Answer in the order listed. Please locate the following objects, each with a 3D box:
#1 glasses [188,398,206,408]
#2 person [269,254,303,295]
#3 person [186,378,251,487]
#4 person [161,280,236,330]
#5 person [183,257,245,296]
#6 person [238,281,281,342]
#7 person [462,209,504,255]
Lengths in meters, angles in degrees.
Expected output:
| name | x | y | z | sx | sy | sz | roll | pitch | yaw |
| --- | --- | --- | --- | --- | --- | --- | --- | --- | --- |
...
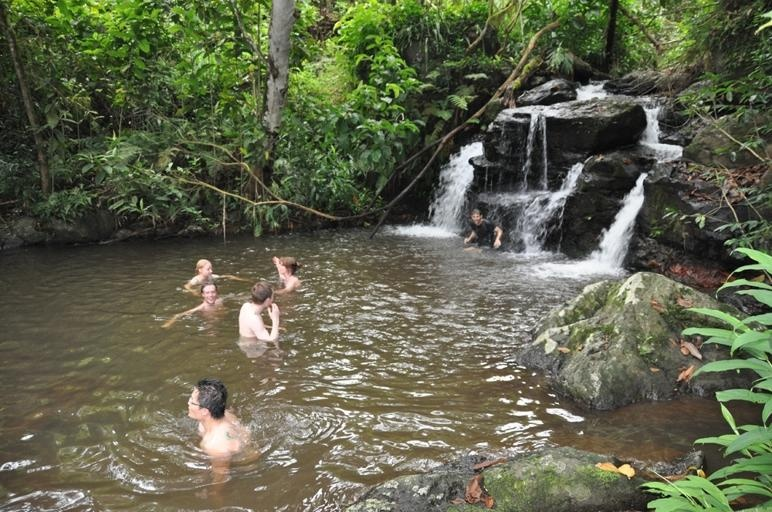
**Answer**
| name | x | y | z | sx | sy | sz | roll | pitch | yaw |
| --- | --- | --- | --- | --- | --- | --- | --- | --- | --- |
| glasses | -2.718 | 2.144 | 9.591 | 0.188 | 0.051 | 0.179 | 24 | 4 | -3 |
| person | -1.992 | 0.405 | 13.378 | 0.413 | 0.809 | 0.554 | -7 | 21 | -19 |
| person | -2.336 | 2.476 | 9.605 | 0.770 | 1.277 | 0.930 | -3 | 15 | -31 |
| person | -3.421 | 0.840 | 12.228 | 0.515 | 0.692 | 1.332 | 13 | 15 | 32 |
| person | -3.448 | 0.354 | 13.308 | 0.776 | 0.377 | 1.218 | 8 | 9 | -36 |
| person | -2.174 | 0.954 | 11.516 | 0.724 | 0.970 | 0.504 | 2 | 13 | -9 |
| person | 2.349 | -0.581 | 16.363 | 0.969 | 1.020 | 1.186 | -10 | 16 | -29 |
